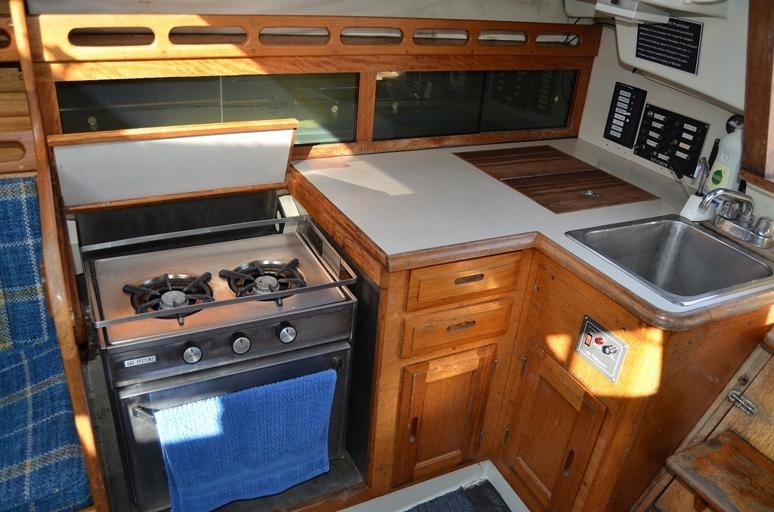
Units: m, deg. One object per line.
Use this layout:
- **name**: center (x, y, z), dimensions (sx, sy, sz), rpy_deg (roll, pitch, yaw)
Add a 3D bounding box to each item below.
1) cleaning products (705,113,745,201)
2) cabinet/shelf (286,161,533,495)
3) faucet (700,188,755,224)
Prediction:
- **cleaning products**: center (1.350, -0.357, 2.093), dimensions (0.067, 0.228, 0.069), rpy_deg (-9, 31, -43)
- **cabinet/shelf**: center (0.033, 0.100, 2.423), dimensions (0.793, 1.369, 1.362), rpy_deg (-12, 34, -29)
- **faucet**: center (1.288, -0.181, 1.965), dimensions (0.238, 0.115, 0.077), rpy_deg (13, 16, -3)
